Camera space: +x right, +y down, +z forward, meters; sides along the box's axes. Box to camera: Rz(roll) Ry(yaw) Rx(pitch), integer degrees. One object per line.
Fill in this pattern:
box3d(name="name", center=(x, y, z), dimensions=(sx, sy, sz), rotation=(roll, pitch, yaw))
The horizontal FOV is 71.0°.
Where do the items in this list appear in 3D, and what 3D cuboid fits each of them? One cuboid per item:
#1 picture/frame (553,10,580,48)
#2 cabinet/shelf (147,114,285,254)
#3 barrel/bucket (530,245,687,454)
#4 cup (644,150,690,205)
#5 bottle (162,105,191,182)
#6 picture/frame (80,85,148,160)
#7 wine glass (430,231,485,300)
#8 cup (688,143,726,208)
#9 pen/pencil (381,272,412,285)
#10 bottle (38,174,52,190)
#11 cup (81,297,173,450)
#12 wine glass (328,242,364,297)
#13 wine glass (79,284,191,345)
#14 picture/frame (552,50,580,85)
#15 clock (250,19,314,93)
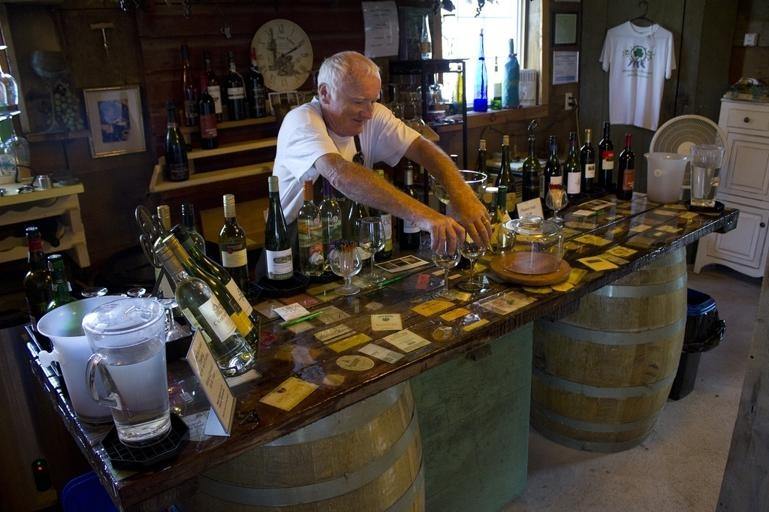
box3d(name="picture/frame", center=(1.635, -2.045, 4.856), dimensions=(0.357, 0.278, 0.038), rotation=(-19, 23, -38))
box3d(name="cabinet/shelf", center=(-0.932, -0.423, 2.910), dimensions=(0.765, 0.714, 0.268), rotation=(-9, 17, -30))
box3d(name="barrel/bucket", center=(1.134, 0.461, 2.748), dimensions=(0.725, 0.977, 0.300), rotation=(0, 19, 13))
box3d(name="cup", center=(1.571, -0.438, 3.053), dimensions=(0.284, 0.283, 0.258), rotation=(-3, 13, 1))
box3d(name="bottle", center=(-1.212, -0.651, 3.087), dimensions=(0.151, 0.417, 0.258), rotation=(-10, 19, -18))
box3d(name="picture/frame", center=(-1.618, -0.804, 3.193), dimensions=(0.368, 0.447, 0.030), rotation=(-17, 20, -26))
box3d(name="wine glass", center=(0.299, 0.038, 2.209), dimensions=(0.241, 0.223, 0.086), rotation=(-11, 15, -39))
box3d(name="cup", center=(1.760, -0.445, 2.960), dimensions=(0.146, 0.308, 0.269), rotation=(6, 21, 29))
box3d(name="pen/pencil", center=(0.050, 0.097, 2.307), dimensions=(0.118, 0.013, 0.016), rotation=(-19, 47, -43))
box3d(name="bottle", center=(-1.731, -0.375, 2.749), dimensions=(0.079, 0.083, 0.077), rotation=(-5, 14, -35))
box3d(name="cup", center=(-0.703, 0.326, 1.514), dimensions=(0.211, 0.376, 0.178), rotation=(-9, 19, -14))
box3d(name="wine glass", center=(-0.156, 0.032, 2.211), dimensions=(0.119, 0.230, 0.197), rotation=(-5, 18, -3))
box3d(name="wine glass", center=(-0.792, 0.163, 1.824), dimensions=(0.221, 0.140, 0.204), rotation=(8, 9, 40))
box3d(name="picture/frame", center=(1.666, -1.729, 4.951), dimensions=(0.062, 0.290, 0.366), rotation=(14, 25, 43))
box3d(name="clock", center=(-0.656, -1.296, 3.494), dimensions=(0.420, 0.415, 0.010), rotation=(7, 19, 16))
